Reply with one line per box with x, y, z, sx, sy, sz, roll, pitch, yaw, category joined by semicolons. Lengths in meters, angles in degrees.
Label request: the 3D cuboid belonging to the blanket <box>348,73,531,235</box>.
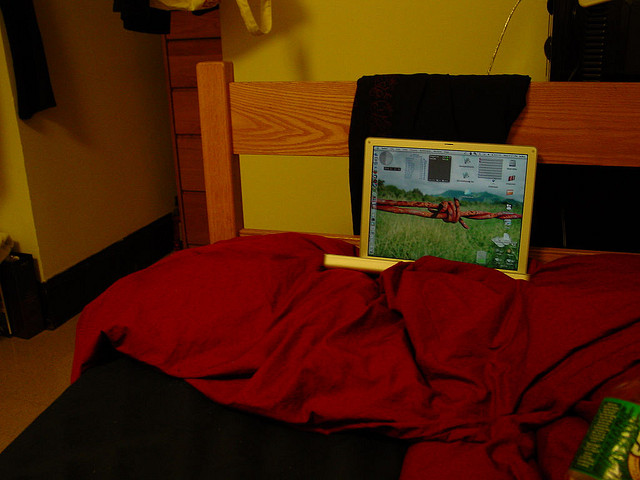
0.321;-0.203;1.296;0.467;0.527;0.052;2;-22;-1;blanket

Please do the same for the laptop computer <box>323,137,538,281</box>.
0.344;-0.061;1.341;0.499;0.364;0.369;7;14;13;laptop computer
